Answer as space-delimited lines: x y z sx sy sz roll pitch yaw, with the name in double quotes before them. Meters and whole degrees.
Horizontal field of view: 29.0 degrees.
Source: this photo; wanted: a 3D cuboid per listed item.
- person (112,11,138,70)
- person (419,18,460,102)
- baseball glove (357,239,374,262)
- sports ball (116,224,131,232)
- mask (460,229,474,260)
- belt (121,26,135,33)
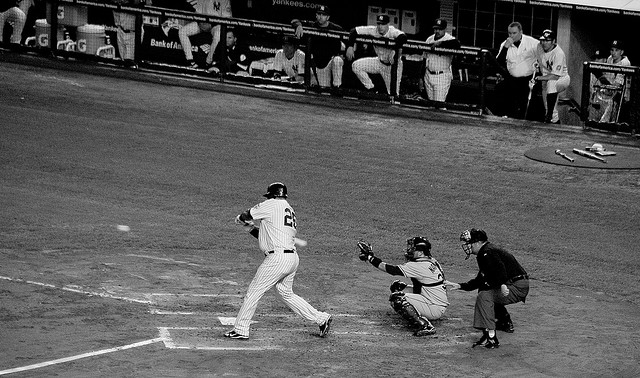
"person" -6.402 -4.895 40.868 0.717 1.871 0.474 0 1 8
"person" 3.680 -4.033 38.384 1.218 2.364 0.788 2 2 34
"baseball glove" 1.067 1.436 28.466 0.346 0.428 0.293 3 7 2
"sports ball" -4.913 0.981 30.943 0.356 0.175 0.311 1 7 -9
"mask" 3.451 1.284 28.821 0.316 0.748 0.582 4 7 7
"belt" -6.310 -5.231 40.639 0.496 0.180 0.044 5 8 19
